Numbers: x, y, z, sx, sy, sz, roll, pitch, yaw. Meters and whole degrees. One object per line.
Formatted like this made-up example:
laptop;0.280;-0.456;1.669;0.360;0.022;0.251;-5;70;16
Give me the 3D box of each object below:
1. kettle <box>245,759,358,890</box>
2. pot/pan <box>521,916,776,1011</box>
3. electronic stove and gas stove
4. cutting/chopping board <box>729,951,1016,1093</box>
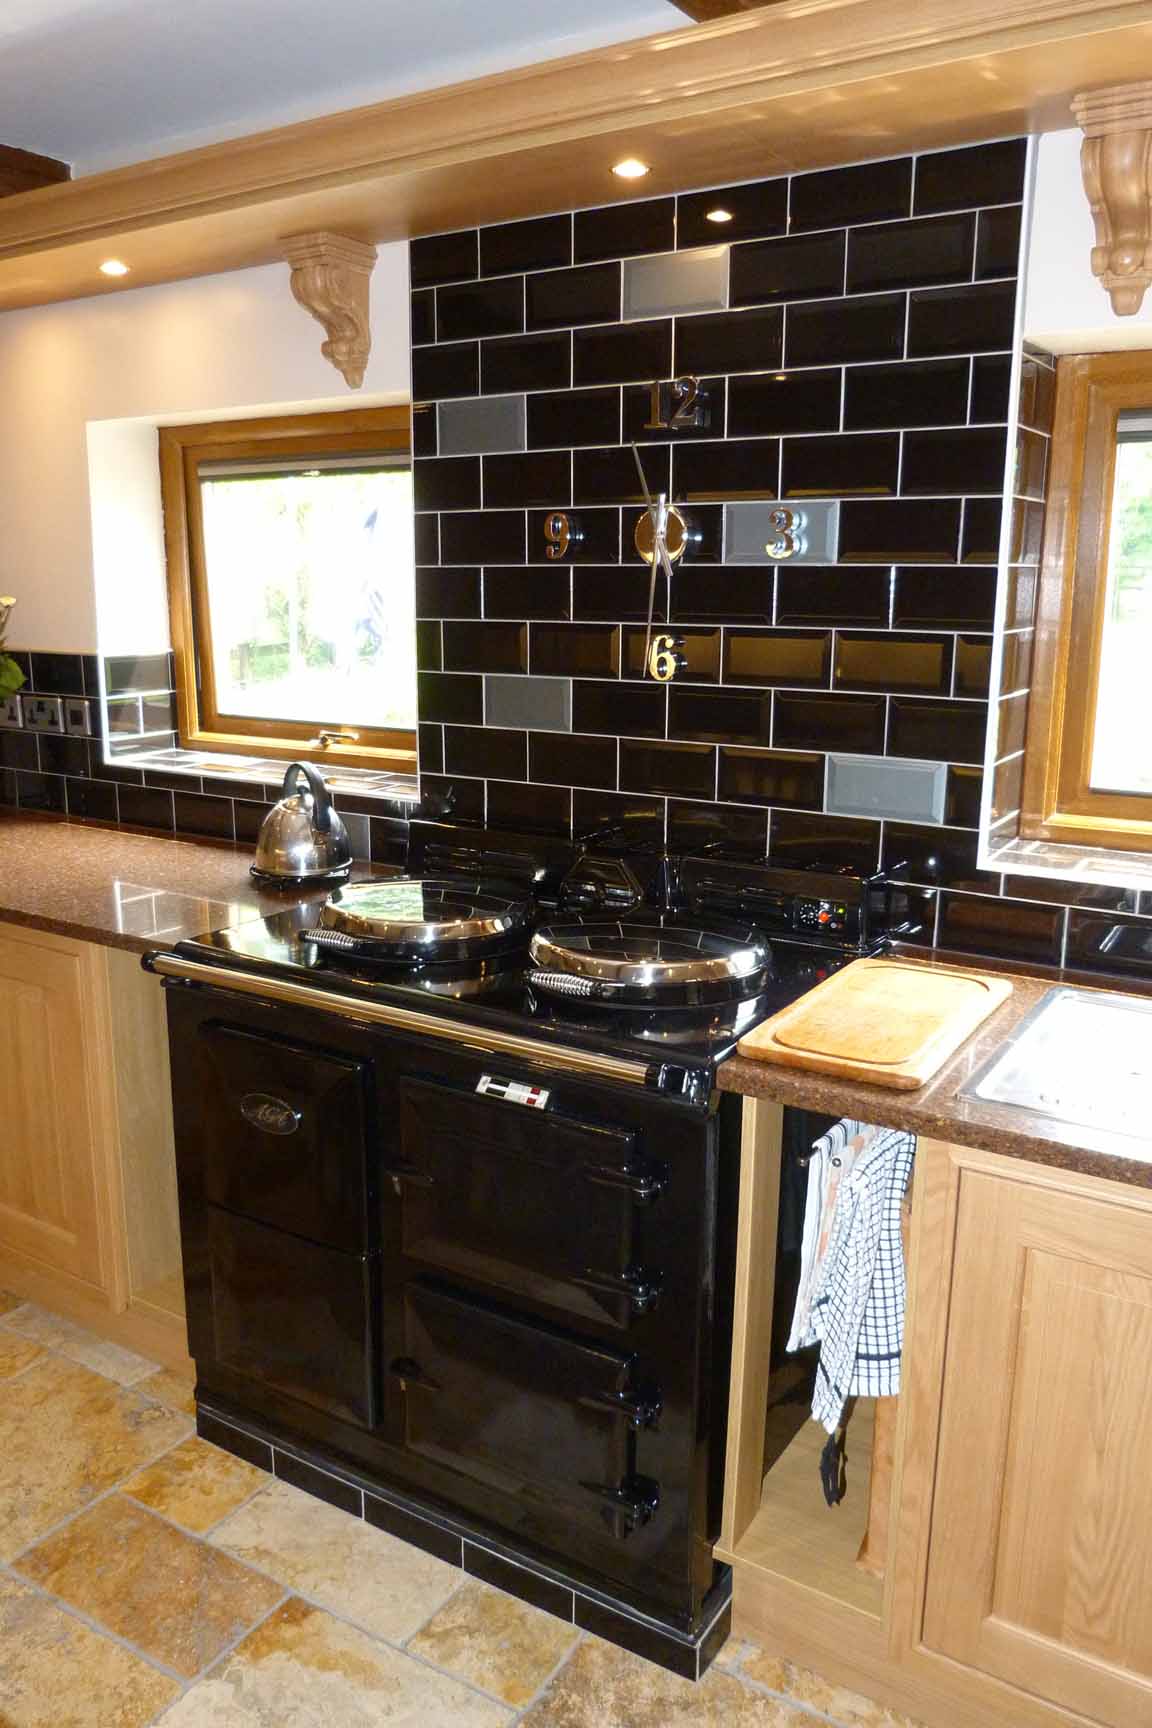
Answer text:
kettle;-0.496;-0.082;2.401;0.206;0.234;0.208;-7;12;-40
pot/pan;0.099;0.132;1.766;0.318;0.056;0.280;1;10;5
electronic stove and gas stove;0.089;-0.014;2.115;1.160;0.186;0.795;9;17;32
cutting/chopping board;0.385;0.189;1.626;0.220;0.024;0.460;6;12;31
